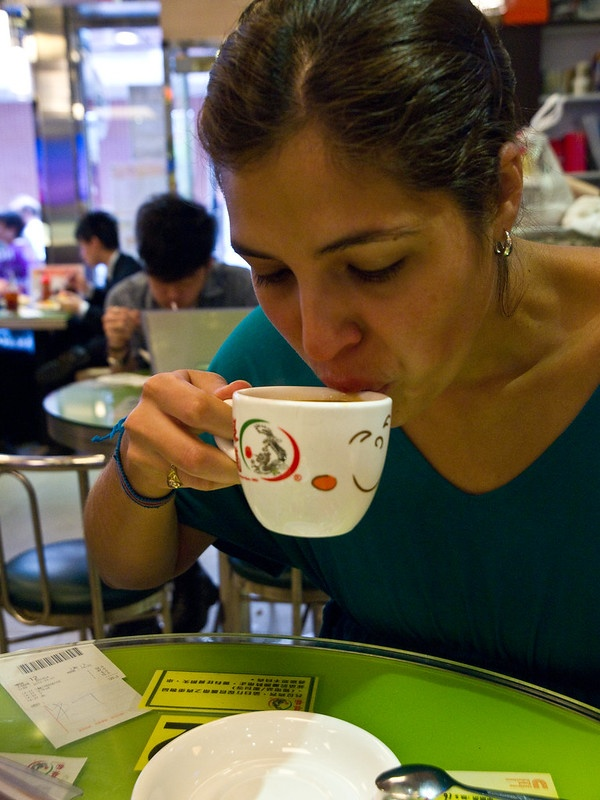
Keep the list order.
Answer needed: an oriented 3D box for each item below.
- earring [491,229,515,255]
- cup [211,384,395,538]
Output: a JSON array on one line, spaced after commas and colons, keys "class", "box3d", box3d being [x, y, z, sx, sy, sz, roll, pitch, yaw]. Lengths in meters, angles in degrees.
[{"class": "earring", "box3d": [0.232, -0.181, 0.802, 0.026, 0.037, 0.040, -1, 6, 5]}, {"class": "cup", "box3d": [0.016, 0.053, 0.682, 0.186, 0.115, 0.145, 6, 9, 39]}]
